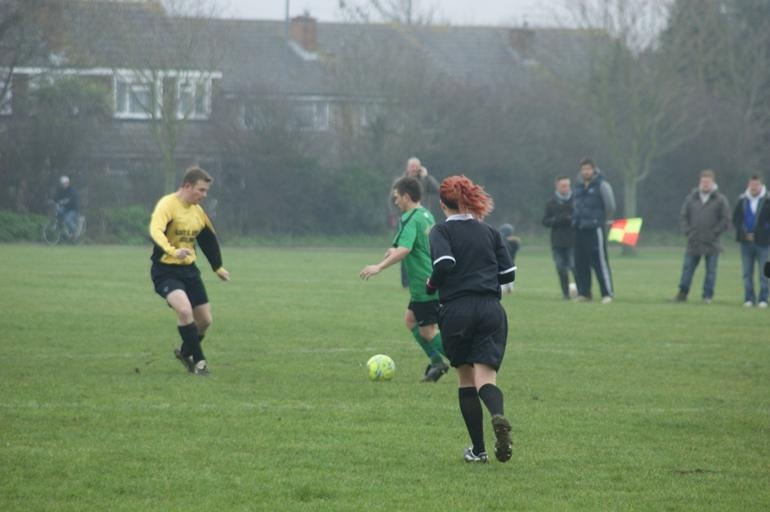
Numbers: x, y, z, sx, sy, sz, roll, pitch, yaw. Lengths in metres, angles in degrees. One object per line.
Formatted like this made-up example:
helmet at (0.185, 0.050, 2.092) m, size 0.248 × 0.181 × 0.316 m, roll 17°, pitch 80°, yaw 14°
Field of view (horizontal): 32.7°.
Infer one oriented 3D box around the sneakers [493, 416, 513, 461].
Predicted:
sneakers at (1.251, 1.932, 13.819) m, size 0.189 × 0.488 × 0.238 m, roll -7°, pitch -13°, yaw 10°

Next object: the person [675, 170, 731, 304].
person at (5.197, -0.302, 21.332) m, size 0.854 × 2.202 × 0.513 m, roll 7°, pitch 12°, yaw 25°

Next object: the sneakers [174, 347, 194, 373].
sneakers at (-2.539, 1.300, 16.464) m, size 0.159 × 0.434 × 0.152 m, roll -20°, pitch -20°, yaw -7°

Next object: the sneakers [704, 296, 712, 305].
sneakers at (5.284, 0.718, 21.367) m, size 0.164 × 0.120 × 0.096 m, roll 2°, pitch 35°, yaw -9°

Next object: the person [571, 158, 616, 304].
person at (3.453, -0.428, 21.755) m, size 0.768 × 2.394 × 0.480 m, roll 6°, pitch 12°, yaw 23°

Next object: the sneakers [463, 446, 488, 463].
sneakers at (0.971, 2.141, 14.117) m, size 0.121 × 0.128 × 0.271 m, roll -3°, pitch 9°, yaw -37°

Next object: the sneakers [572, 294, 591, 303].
sneakers at (3.312, 0.717, 22.093) m, size 0.278 × 0.120 × 0.104 m, roll -1°, pitch -1°, yaw 13°

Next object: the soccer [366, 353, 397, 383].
soccer at (-0.048, 1.384, 16.310) m, size 0.295 × 0.312 × 0.315 m, roll 1°, pitch 9°, yaw 19°

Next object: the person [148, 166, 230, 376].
person at (-2.508, 0.144, 16.568) m, size 0.848 × 2.495 × 0.813 m, roll 6°, pitch 12°, yaw 22°

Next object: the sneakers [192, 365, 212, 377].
sneakers at (-2.278, 1.427, 16.280) m, size 0.176 × 0.112 × 0.075 m, roll 7°, pitch -36°, yaw 17°

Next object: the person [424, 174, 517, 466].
person at (0.940, 0.669, 14.197) m, size 0.945 × 2.989 × 0.713 m, roll 7°, pitch 12°, yaw 28°

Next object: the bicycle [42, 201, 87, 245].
bicycle at (-4.526, -0.459, 18.408) m, size 0.231 × 0.547 × 0.604 m, roll 6°, pitch 1°, yaw 33°

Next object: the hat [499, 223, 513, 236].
hat at (2.172, -0.473, 23.299) m, size 0.185 × 0.245 × 0.249 m, roll 1°, pitch 46°, yaw -7°

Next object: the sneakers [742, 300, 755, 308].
sneakers at (5.813, 0.759, 20.948) m, size 0.106 × 0.079 × 0.195 m, roll 3°, pitch 3°, yaw 8°
